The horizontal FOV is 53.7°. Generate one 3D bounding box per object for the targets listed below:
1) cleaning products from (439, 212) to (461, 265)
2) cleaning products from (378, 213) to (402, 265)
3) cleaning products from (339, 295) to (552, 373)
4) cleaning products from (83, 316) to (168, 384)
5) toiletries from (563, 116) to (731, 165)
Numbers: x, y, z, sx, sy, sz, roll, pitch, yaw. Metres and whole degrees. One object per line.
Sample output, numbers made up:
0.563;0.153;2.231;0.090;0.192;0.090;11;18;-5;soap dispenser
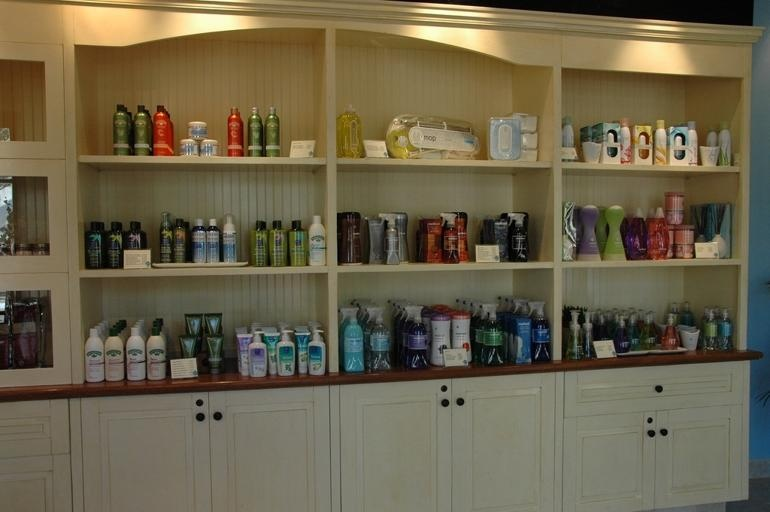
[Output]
0.400;-0.110;4.754;0.108;0.255;0.123;-2;1;5;cleaning products
0.033;-0.104;4.703;0.121;0.267;0.099;-3;1;0;cleaning products
0.368;0.481;4.830;1.336;0.372;0.348;-3;2;-7;cleaning products
-1.550;0.567;4.578;0.468;0.379;0.228;-3;1;-6;cleaning products
1.713;-0.707;4.910;0.935;0.327;0.375;4;6;-5;toiletries
